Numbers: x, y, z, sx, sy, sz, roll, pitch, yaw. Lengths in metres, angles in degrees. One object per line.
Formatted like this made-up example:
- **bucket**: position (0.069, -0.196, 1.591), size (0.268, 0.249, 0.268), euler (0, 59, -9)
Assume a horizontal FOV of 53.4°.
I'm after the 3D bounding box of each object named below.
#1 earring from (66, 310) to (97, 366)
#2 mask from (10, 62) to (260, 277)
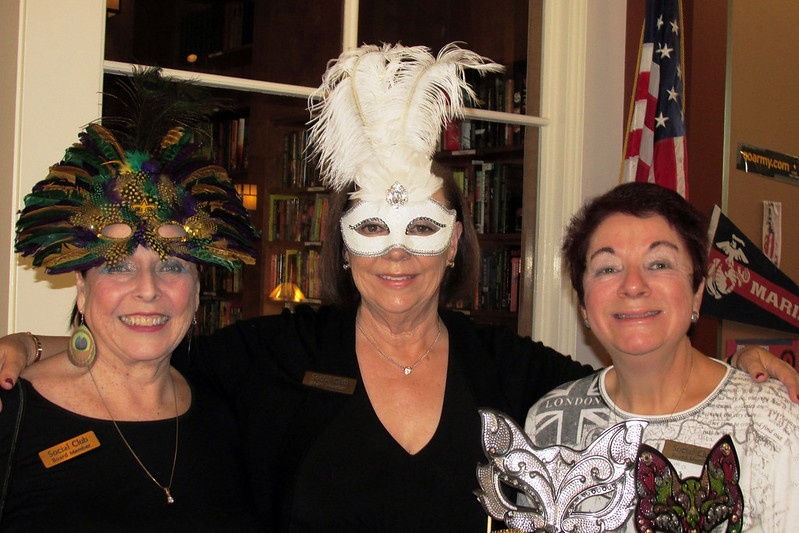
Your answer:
- **earring**: position (-1.111, 0.284, 2.807), size (0.104, 0.146, 0.043), euler (-1, 9, 12)
- **mask**: position (-1.041, -0.377, 3.023), size (0.900, 0.820, 0.292), euler (3, -11, -19)
